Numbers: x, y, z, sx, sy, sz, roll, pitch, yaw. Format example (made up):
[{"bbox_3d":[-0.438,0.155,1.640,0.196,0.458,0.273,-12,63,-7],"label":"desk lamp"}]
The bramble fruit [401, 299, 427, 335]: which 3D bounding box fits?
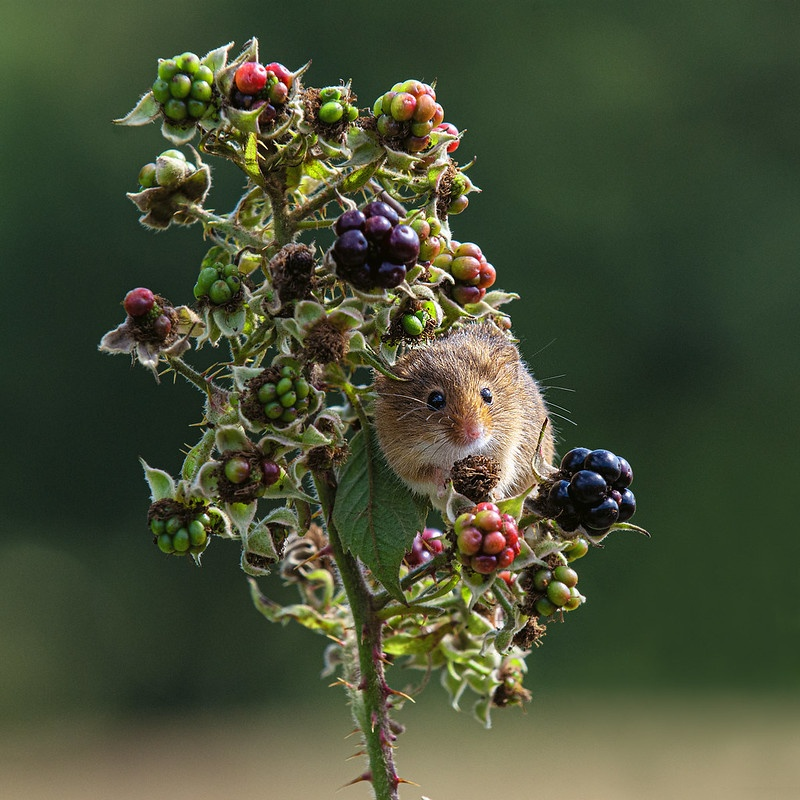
[{"bbox_3d":[0.029,-0.163,2.996,0.045,0.040,0.067,-4,-83,-6],"label":"bramble fruit"}]
